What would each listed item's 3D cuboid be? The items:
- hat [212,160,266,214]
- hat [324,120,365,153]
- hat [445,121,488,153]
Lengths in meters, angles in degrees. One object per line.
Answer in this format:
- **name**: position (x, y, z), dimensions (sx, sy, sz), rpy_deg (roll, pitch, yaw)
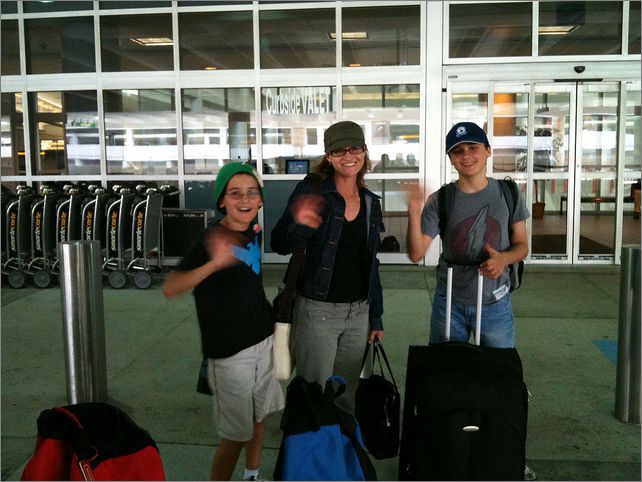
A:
- **hat**: position (-0.508, -0.314, 3.309), dimensions (0.282, 0.214, 0.271), rpy_deg (-1, -17, -12)
- **hat**: position (0.148, -0.644, 3.420), dimensions (0.257, 0.208, 0.202), rpy_deg (0, 6, -1)
- **hat**: position (0.902, -0.636, 3.436), dimensions (0.177, 0.132, 0.243), rpy_deg (-7, 2, 29)
